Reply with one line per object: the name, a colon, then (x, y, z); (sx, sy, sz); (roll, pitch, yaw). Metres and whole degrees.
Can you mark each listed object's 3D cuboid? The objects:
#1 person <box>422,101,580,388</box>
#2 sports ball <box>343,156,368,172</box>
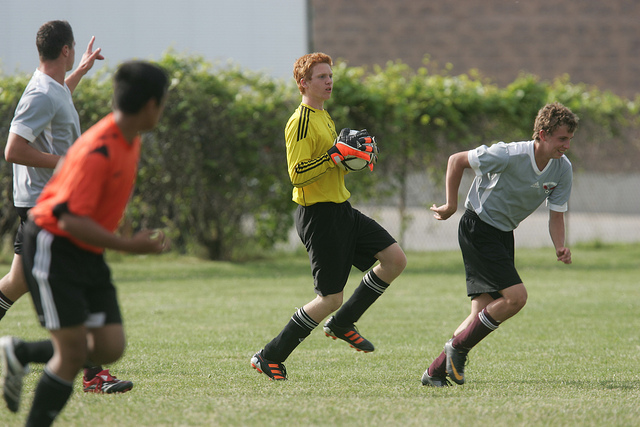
person: (1.678, 0.288, 8.891); (1.296, 2.583, 0.580); (1, 9, 2)
sports ball: (0.341, -0.470, 8.944); (0.179, 0.149, 0.292); (6, 10, 31)
